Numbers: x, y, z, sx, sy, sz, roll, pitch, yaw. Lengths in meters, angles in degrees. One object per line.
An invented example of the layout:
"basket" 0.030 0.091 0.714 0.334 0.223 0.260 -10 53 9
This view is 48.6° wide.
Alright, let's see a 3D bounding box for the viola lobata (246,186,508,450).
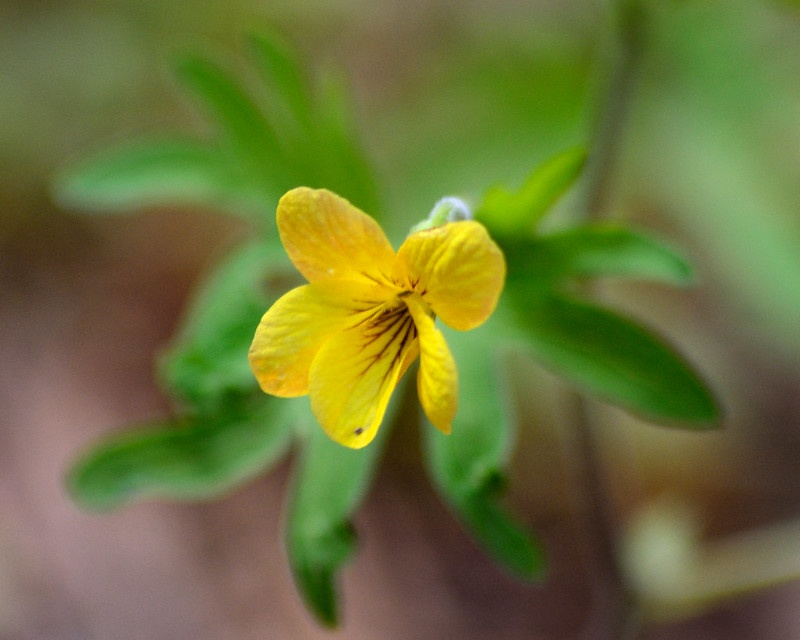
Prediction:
"viola lobata" -0.025 0.004 0.824 0.220 0.144 0.179 15 59 10
